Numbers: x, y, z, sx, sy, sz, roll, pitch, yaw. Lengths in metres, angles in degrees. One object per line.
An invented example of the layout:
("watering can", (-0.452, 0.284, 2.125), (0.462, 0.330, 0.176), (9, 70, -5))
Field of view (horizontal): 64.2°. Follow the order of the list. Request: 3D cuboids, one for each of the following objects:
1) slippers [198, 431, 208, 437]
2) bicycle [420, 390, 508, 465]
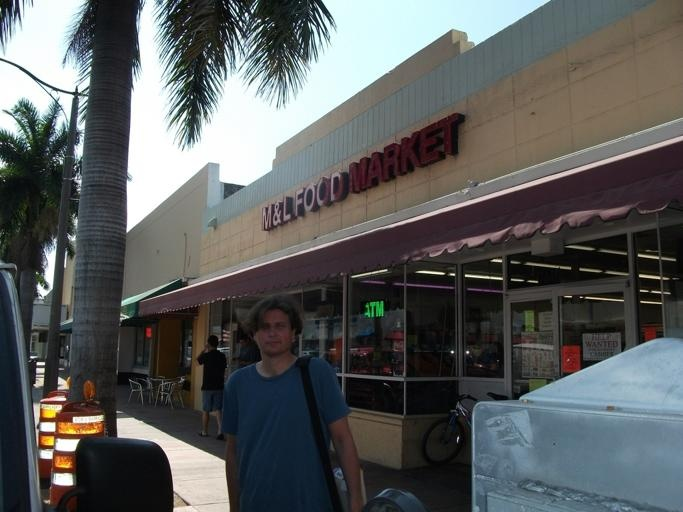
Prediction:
("slippers", (-2.943, 3.771, 11.549), (0.085, 0.105, 0.237), (7, -6, -39))
("bicycle", (1.648, 2.707, 8.480), (1.687, 1.191, 0.875), (-2, -11, -26))
